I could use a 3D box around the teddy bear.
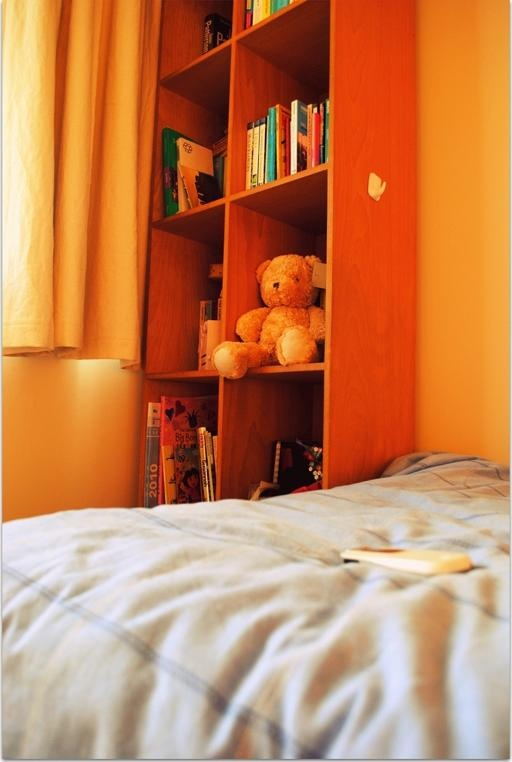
[{"bbox_3d":[0.044,-0.153,1.433,0.249,0.370,0.296,6,6,33],"label":"teddy bear"}]
